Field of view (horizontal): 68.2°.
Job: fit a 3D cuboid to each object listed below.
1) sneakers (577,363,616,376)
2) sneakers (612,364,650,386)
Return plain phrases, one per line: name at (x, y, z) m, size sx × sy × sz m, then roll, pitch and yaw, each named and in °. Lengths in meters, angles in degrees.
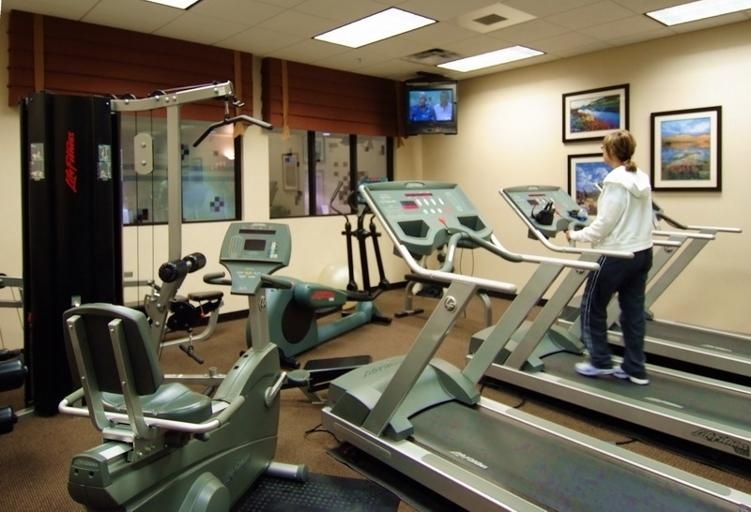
sneakers at (1.873, 0.985, 4.758) m, size 0.304 × 0.122 × 0.110 m, roll 6°, pitch -4°, yaw 18°
sneakers at (2.107, 1.013, 4.662) m, size 0.300 × 0.129 × 0.110 m, roll 23°, pitch 14°, yaw 35°
